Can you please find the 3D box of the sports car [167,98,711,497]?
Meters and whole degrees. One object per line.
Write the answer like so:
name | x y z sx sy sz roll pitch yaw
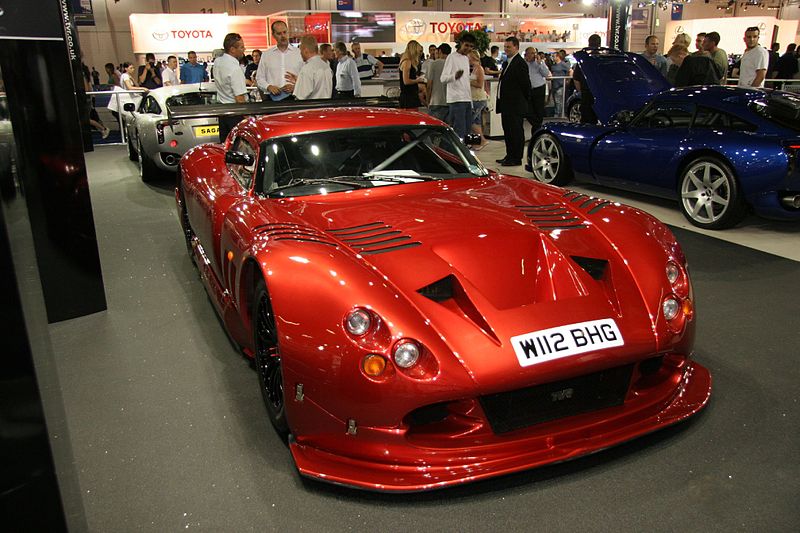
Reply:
sports car | -0.187 0.087 3.746 1.978 1.007 3.318 -9 20 -25

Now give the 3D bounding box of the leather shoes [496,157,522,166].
leather shoes | 1.955 -1.913 9.696 0.489 0.219 0.164 1 16 16

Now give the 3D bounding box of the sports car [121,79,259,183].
sports car | -3.999 -2.477 9.205 1.457 0.948 2.875 -10 31 -24
